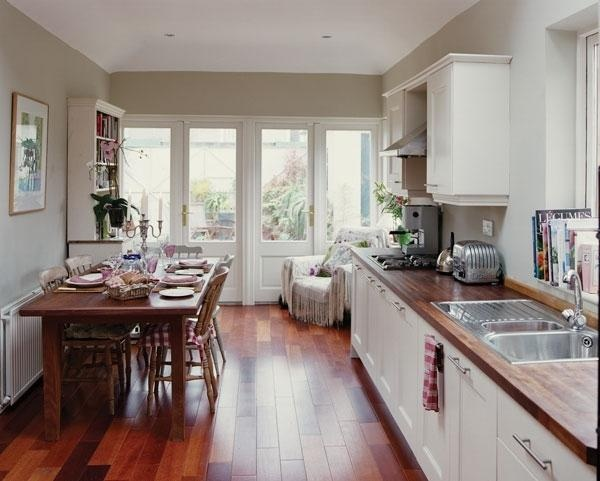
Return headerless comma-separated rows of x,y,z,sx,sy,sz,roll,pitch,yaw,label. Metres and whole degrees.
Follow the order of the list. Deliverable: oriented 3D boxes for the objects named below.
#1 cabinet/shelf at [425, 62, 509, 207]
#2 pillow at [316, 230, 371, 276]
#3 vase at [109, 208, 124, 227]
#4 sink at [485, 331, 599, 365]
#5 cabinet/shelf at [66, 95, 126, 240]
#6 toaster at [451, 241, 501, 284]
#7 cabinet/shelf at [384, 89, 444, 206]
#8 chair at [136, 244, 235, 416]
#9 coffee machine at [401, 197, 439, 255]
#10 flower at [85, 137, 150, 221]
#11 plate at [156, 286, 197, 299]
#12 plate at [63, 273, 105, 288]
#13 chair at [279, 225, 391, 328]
1.112,-0.729,3.148,0.366,0.934,0.690,-3,8,-6,cabinet/shelf
0.544,0.124,5.454,0.165,0.613,0.553,25,3,-19,pillow
-1.766,-0.245,4.390,0.150,0.191,0.163,8,12,29,vase
1.021,0.449,1.906,0.462,0.137,0.194,1,7,4,sink
-2.133,-0.738,4.736,0.424,1.405,0.778,-1,7,-8,cabinet/shelf
1.155,0.150,3.014,0.212,0.290,0.320,-3,2,3,toaster
0.963,-1.031,3.792,0.210,0.605,0.607,-6,7,-15,cabinet/shelf
-0.855,0.575,3.601,0.879,1.494,0.961,1,1,-5,chair
1.082,-0.095,3.922,0.360,0.645,0.355,1,1,2,coffee machine
-1.912,-0.654,4.649,0.499,0.813,0.645,4,-2,11,flower
-0.820,0.337,3.026,0.235,0.030,0.260,-1,8,-6,plate
-1.591,0.269,3.328,0.253,0.063,0.412,-4,9,-29,plate
0.404,0.365,5.365,0.838,1.119,1.067,1,5,-44,chair
